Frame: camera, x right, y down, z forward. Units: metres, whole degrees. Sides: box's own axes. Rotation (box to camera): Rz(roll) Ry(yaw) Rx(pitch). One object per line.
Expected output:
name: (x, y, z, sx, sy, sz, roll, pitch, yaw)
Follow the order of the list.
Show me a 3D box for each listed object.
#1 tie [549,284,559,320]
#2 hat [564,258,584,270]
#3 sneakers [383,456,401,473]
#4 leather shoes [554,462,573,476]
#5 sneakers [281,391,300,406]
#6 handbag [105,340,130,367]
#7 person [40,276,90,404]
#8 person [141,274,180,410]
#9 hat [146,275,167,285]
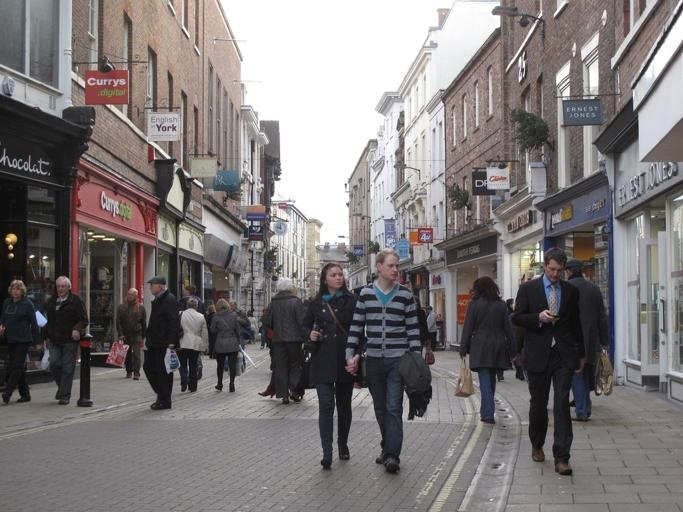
tie: (2.234, 0.449, 7.631, 0.112, 0.303, 0.063, -1, -7, -8)
hat: (3.517, 0.132, 10.975, 0.223, 0.137, 0.333, 2, 3, 11)
sneakers: (0.530, 2.165, 7.505, 0.134, 0.167, 0.144, -3, -8, -2)
leather shoes: (2.236, 2.134, 7.279, 0.168, 0.131, 0.162, -6, -9, 16)
sneakers: (-0.920, 2.613, 13.309, 0.147, 0.225, 0.488, 2, 5, 14)
handbag: (-4.964, 2.134, 16.113, 0.360, 0.563, 0.612, 2, -10, -31)
person: (-4.916, 1.600, 12.787, 0.757, 1.996, 0.401, -3, -7, 2)
person: (-3.087, 1.463, 12.425, 0.638, 2.300, 0.455, -3, -7, 3)
hat: (-4.177, 0.524, 16.213, 0.351, 0.206, 0.265, 6, -5, 1)
